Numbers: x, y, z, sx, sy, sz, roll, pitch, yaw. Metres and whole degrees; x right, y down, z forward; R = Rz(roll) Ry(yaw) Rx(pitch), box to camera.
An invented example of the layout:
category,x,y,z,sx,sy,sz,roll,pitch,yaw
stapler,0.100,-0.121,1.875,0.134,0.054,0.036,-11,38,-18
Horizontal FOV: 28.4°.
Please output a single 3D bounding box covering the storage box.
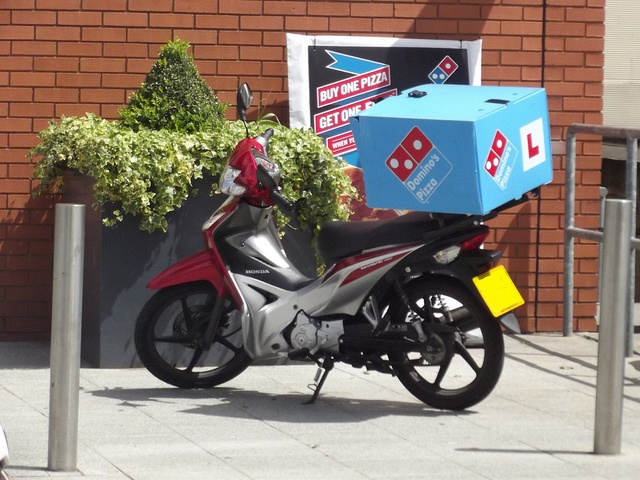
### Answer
category,x,y,z,sx,sy,sz,roll,pitch,yaw
storage box,0.900,-0.633,8.651,1.078,0.626,1.018,4,20,32
